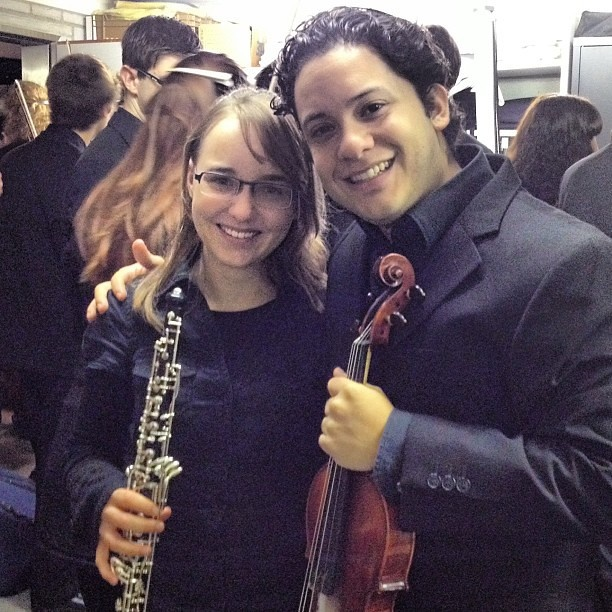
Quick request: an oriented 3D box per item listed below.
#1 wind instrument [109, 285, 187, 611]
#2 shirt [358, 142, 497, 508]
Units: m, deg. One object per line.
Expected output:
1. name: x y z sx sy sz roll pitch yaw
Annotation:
1. wind instrument: -0.359 0.337 1.590 0.131 0.903 0.153 13 7 18
2. shirt: 0.210 0.029 1.275 0.178 0.622 0.406 18 23 32
